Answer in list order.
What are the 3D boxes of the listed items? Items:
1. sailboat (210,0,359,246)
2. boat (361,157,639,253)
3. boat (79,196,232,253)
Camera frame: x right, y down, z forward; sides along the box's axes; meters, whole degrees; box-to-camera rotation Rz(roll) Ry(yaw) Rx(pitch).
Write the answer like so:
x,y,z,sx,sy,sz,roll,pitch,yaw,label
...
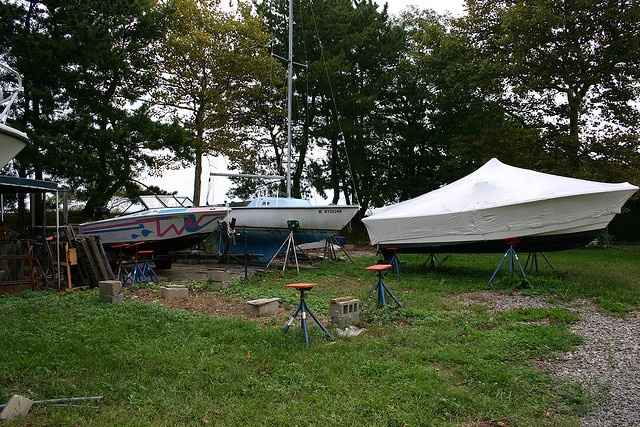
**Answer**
x,y,z,sx,sy,sz,roll,pitch,yaw,label
-1.337,-5.619,23.107,5.480,13.647,12.258,0,0,2,sailboat
5.881,-0.045,15.644,6.445,2.568,3.845,-6,-4,35,boat
-5.768,0.528,17.351,4.923,2.122,2.110,-3,0,7,boat
